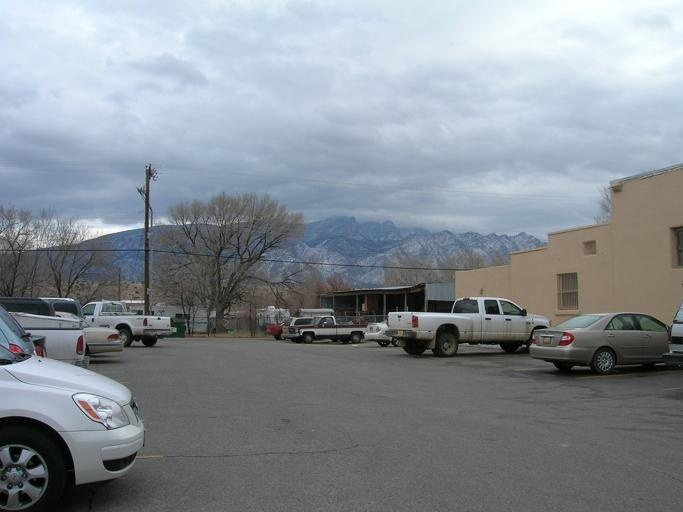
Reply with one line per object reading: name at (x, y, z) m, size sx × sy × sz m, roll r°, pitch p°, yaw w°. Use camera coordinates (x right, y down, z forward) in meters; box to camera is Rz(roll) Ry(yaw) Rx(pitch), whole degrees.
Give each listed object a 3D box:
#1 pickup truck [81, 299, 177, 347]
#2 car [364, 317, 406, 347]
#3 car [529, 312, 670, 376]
pickup truck at (-10.807, 3.209, 28.642) m, size 5.331 × 2.326 × 2.255 m, roll -1°, pitch -3°, yaw 22°
car at (1.968, 4.282, 32.502) m, size 2.224 × 0.976 × 1.110 m, roll -1°, pitch 0°, yaw -27°
car at (7.238, 2.291, 16.662) m, size 3.909 × 1.308 × 1.670 m, roll -1°, pitch -2°, yaw -25°
